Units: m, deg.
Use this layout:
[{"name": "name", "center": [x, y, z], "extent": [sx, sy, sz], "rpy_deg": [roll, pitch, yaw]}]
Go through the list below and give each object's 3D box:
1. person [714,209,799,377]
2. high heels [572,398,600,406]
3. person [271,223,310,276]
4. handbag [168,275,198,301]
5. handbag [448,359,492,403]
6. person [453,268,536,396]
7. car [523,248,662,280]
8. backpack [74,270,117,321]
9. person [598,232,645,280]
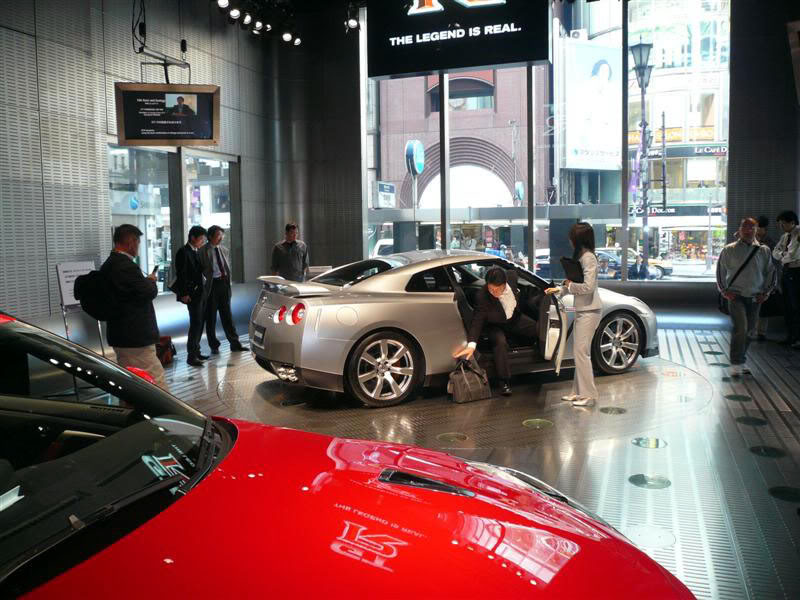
[{"name": "person", "center": [4.257, -0.024, 6.440], "extent": [0.646, 1.923, 0.493], "rpy_deg": [2, 10, -22]}, {"name": "high heels", "center": [1.952, 1.071, 5.461], "extent": [0.269, 0.101, 0.122], "rpy_deg": [3, 8, -18]}, {"name": "person", "center": [-1.867, -0.569, 8.877], "extent": [0.591, 1.438, 0.381], "rpy_deg": [-2, -12, -16]}, {"name": "handbag", "center": [-3.028, -0.136, 7.289], "extent": [0.230, 0.361, 0.171], "rpy_deg": [11, 6, -15]}, {"name": "handbag", "center": [0.745, 0.837, 5.628], "extent": [0.496, 0.559, 0.238], "rpy_deg": [-7, -11, -10]}, {"name": "person", "center": [1.038, 0.382, 5.700], "extent": [0.900, 0.846, 0.616], "rpy_deg": [-31, 49, -14]}, {"name": "car", "center": [3.822, -0.674, 10.095], "extent": [2.018, 0.702, 0.908], "rpy_deg": [-1, 5, 4]}, {"name": "backpack", "center": [-2.703, -0.027, 4.693], "extent": [0.310, 0.459, 0.117], "rpy_deg": [-25, 1, 0]}, {"name": "person", "center": [4.222, -0.758, 9.909], "extent": [0.801, 0.447, 0.487], "rpy_deg": [-3, 14, 4]}]
